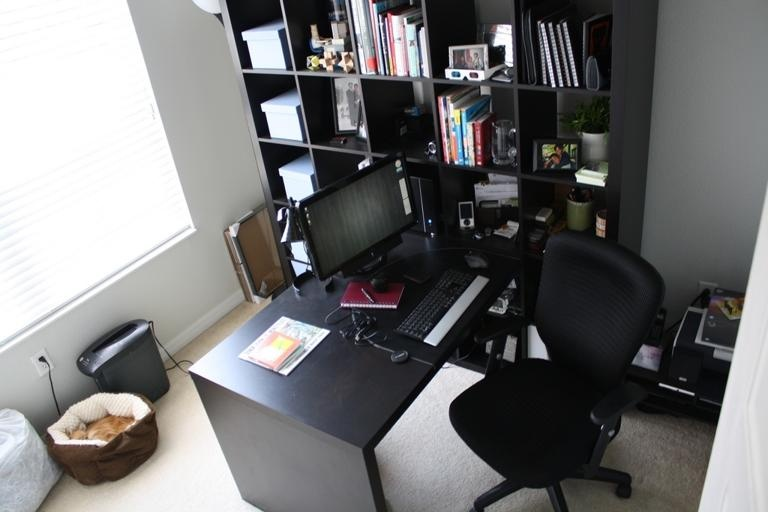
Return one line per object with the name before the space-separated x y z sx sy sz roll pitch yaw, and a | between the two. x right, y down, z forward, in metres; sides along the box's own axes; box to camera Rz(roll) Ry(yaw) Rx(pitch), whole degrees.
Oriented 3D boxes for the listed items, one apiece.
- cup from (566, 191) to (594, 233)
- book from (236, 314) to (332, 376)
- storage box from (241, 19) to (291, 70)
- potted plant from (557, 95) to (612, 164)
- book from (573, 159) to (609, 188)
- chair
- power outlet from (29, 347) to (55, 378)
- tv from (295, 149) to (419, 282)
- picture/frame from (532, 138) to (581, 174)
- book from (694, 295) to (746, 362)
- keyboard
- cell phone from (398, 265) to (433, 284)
cup | 1.117 -0.264 3.053 0.158 0.229 0.124 8 29 21
book | -0.520 0.467 2.841 0.303 0.034 0.291 18 43 29
storage box | -0.750 -1.332 3.445 0.317 0.202 0.327 11 37 27
potted plant | 1.095 -0.686 2.892 0.253 0.346 0.260 -20 34 -19
book | 1.109 -0.443 2.859 0.158 0.089 0.181 6 30 19
chair | 0.930 0.613 2.778 0.814 1.286 0.808 -25 41 -29
power outlet | -2.204 0.680 3.439 0.025 0.204 0.148 4 24 25
tv | -0.129 -0.230 3.146 0.702 0.529 0.199 -33 42 -25
picture/frame | 0.950 -0.554 2.908 0.197 0.158 0.028 3 16 18
book | 1.846 0.377 2.947 0.175 0.211 0.336 16 34 34
keyboard | 0.311 0.263 2.969 0.255 0.086 0.580 9 39 40
cell phone | 0.188 0.102 3.104 0.105 0.026 0.107 18 39 28
